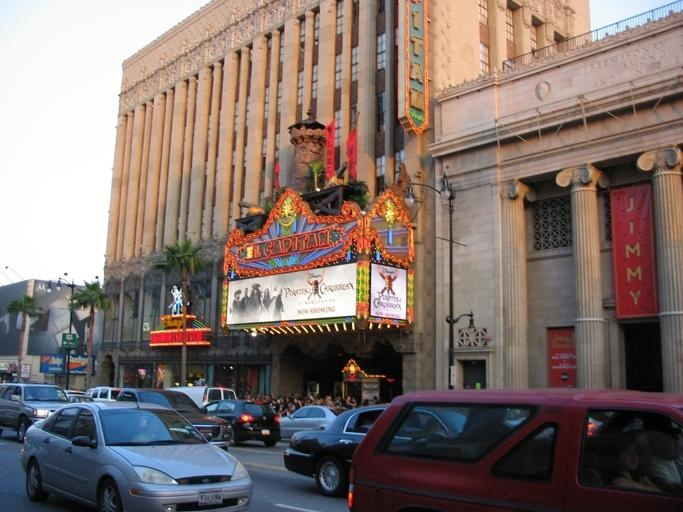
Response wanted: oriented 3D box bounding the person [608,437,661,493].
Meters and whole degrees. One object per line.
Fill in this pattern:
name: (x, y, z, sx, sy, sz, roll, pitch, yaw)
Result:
person: (4.337, 3.228, 11.258, 0.512, 0.742, 0.916, -3, -6, 24)
